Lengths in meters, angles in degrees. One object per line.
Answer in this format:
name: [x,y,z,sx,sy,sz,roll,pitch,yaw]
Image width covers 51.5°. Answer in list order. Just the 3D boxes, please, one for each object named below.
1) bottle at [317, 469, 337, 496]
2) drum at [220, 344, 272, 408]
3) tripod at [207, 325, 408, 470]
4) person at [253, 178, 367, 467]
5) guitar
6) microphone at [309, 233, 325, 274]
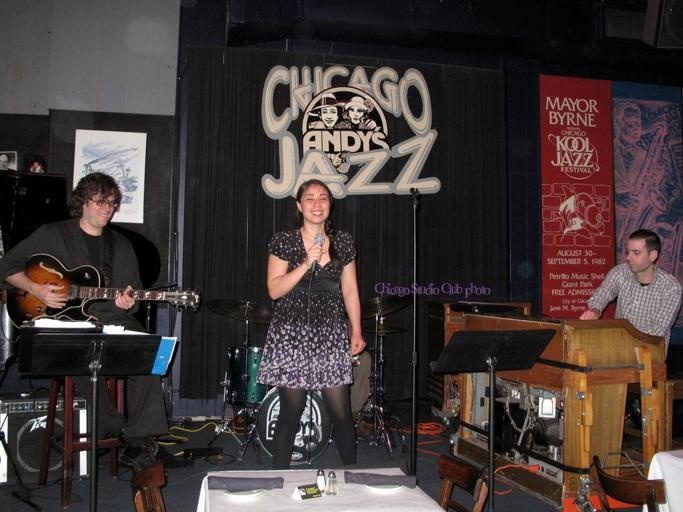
bottle: [-0.095,1.493,4.644,0.144,0.164,0.090,-3,-5,11]
drum: [-1.009,1.253,7.351,0.594,0.655,0.630,-3,-8,25]
tripod: [-0.219,1.526,7.547,1.561,1.465,1.205,0,-8,0]
person: [-0.229,0.533,5.627,0.830,2.263,0.501,2,-3,-2]
guitar: [-2.555,0.326,6.509,1.033,0.668,0.274,1,-3,5]
microphone: [-0.185,-0.019,5.529,0.088,0.313,0.080,4,-18,4]
